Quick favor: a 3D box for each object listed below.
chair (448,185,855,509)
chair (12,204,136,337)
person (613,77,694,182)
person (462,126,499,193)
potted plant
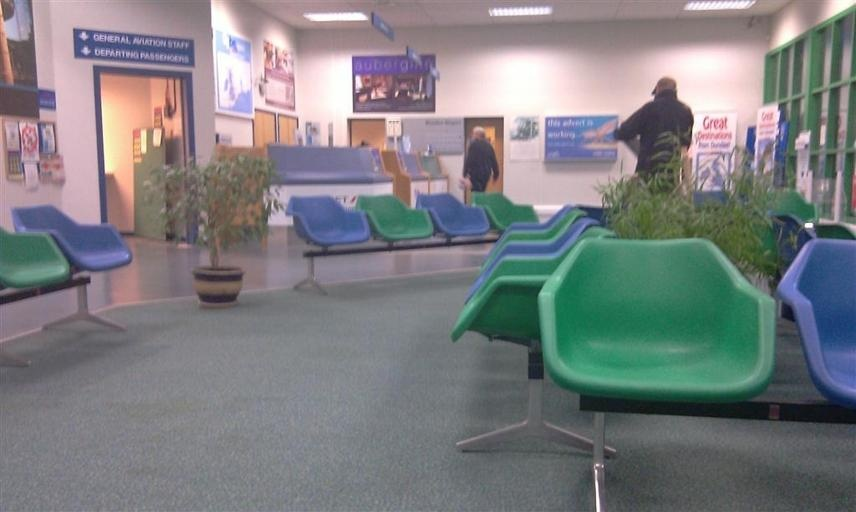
[{"bbox_3d":[0.932,0.539,2.823,1.532,1.196,0.847,7,14,37],"label":"chair"},{"bbox_3d":[-2.997,0.086,4.976,0.790,0.962,0.823,4,7,12],"label":"chair"},{"bbox_3d":[2.856,-1.390,7.130,0.789,1.737,0.588,12,53,34],"label":"person"},{"bbox_3d":[1.001,-1.902,11.451,0.659,1.247,1.068,-1,11,3],"label":"person"},{"bbox_3d":[-2.037,-0.263,5.733,1.101,1.431,0.593,-4,11,-12],"label":"potted plant"}]
